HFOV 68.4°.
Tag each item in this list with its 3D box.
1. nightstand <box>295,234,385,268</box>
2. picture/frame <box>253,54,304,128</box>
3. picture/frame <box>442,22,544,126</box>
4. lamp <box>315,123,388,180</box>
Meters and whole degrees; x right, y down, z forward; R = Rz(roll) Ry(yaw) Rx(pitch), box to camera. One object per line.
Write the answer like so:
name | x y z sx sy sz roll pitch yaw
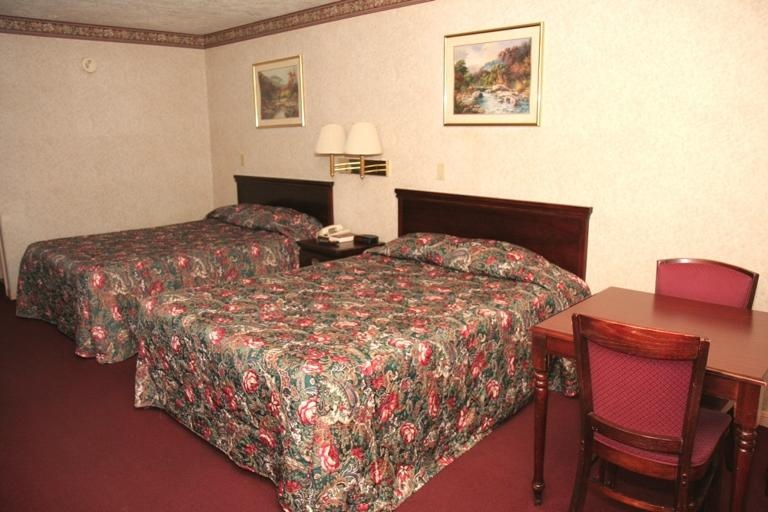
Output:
nightstand | -0.530 -0.148 6.250 0.511 0.452 0.529 -3 -15 31
picture/frame | -1.341 -2.038 7.114 0.963 0.833 0.035 9 18 39
picture/frame | 1.057 -1.740 5.310 1.033 0.893 0.036 6 13 34
lamp | -0.335 -1.174 6.291 0.669 0.443 0.269 9 13 39
